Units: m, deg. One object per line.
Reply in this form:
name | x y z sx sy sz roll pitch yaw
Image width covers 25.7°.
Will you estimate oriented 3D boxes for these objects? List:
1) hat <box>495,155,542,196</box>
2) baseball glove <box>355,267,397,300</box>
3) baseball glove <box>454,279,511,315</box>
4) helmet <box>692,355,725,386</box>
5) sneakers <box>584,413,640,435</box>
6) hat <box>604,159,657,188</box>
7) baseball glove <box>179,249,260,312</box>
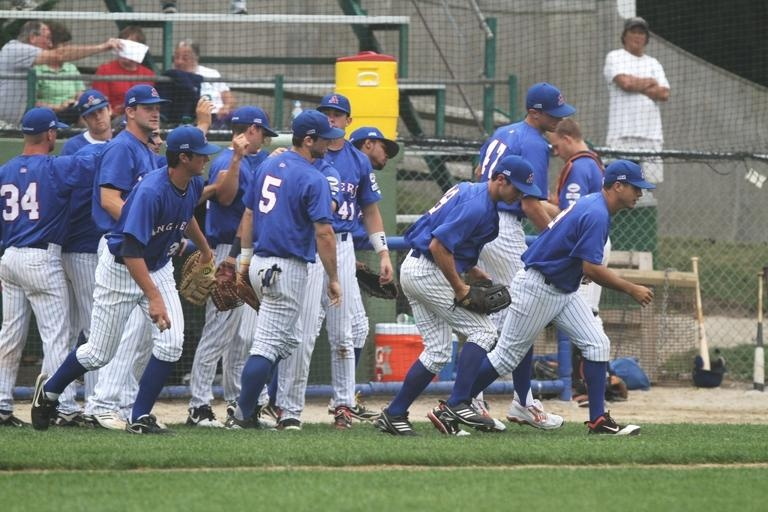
hat | 1.387 -0.815 16.829 0.493 0.279 0.324 31 19 0
baseball glove | -0.108 0.299 18.310 0.459 0.107 0.280 38 -41 -20
baseball glove | 0.991 0.397 16.808 0.440 0.210 0.319 -1 10 -5
helmet | 3.687 1.297 19.187 0.341 0.328 0.372 2 3 3
sneakers | 2.283 1.680 16.915 0.600 0.250 0.204 -1 -8 0
hat | 2.463 -0.833 16.966 0.436 0.208 0.272 2 8 -3
baseball glove | -1.758 0.324 17.218 0.563 0.753 0.363 -20 -21 -25
